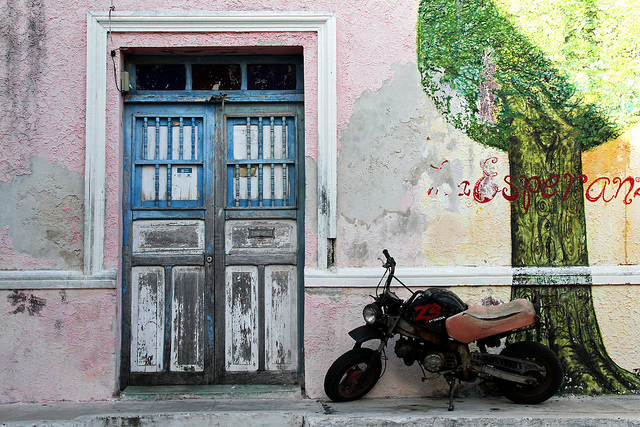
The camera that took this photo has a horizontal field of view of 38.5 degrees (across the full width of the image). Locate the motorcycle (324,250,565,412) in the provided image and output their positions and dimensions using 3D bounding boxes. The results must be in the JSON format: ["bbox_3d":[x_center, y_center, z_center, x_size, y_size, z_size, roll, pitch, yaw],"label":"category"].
[{"bbox_3d":[1.361,1.441,10.344,2.725,1.382,1.041,1,-6,6],"label":"motorcycle"}]
